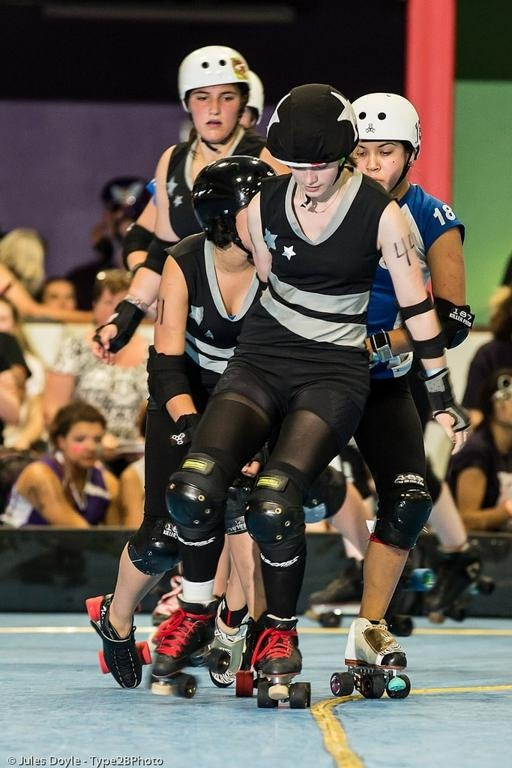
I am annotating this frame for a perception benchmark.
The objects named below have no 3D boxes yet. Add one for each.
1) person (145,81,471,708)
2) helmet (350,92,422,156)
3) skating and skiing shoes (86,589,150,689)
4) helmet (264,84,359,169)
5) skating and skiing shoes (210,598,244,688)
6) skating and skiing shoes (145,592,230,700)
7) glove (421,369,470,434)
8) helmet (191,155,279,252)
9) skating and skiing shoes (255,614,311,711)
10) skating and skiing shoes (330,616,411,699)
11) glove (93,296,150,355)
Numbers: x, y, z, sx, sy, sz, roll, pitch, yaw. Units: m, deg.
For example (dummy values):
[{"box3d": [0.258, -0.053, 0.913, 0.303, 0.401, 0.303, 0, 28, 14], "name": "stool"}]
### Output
[{"box3d": [0.094, 0.066, 1.854, 0.592, 1.449, 0.844, 13, 33, 31], "name": "person"}, {"box3d": [0.438, -0.824, 2.493, 0.228, 0.252, 0.295, 8, 23, 28], "name": "helmet"}, {"box3d": [-0.394, 0.752, 2.229, 0.152, 0.276, 0.140, -18, 4, -22], "name": "skating and skiing shoes"}, {"box3d": [0.132, -0.621, 1.810, 0.221, 0.195, 0.266, 2, 35, 8], "name": "helmet"}, {"box3d": [-0.088, 0.749, 2.182, 0.082, 0.217, 0.096, 9, 9, 23], "name": "skating and skiing shoes"}, {"box3d": [-0.180, 0.701, 2.091, 0.115, 0.142, 0.355, -4, 22, 13], "name": "skating and skiing shoes"}, {"box3d": [0.519, 0.045, 2.072, 0.081, 0.177, 0.116, -16, 31, 11], "name": "glove"}, {"box3d": [-0.068, -0.501, 2.076, 0.245, 0.221, 0.178, 5, 28, 6], "name": "helmet"}, {"box3d": [0.069, 0.679, 1.868, 0.136, 0.203, 0.315, -3, -12, 9], "name": "skating and skiing shoes"}, {"box3d": [0.301, 0.713, 1.953, 0.152, 0.184, 0.294, 7, -19, -16], "name": "skating and skiing shoes"}, {"box3d": [-0.462, -0.206, 2.592, 0.216, 0.085, 0.120, -49, 35, -8], "name": "glove"}]
